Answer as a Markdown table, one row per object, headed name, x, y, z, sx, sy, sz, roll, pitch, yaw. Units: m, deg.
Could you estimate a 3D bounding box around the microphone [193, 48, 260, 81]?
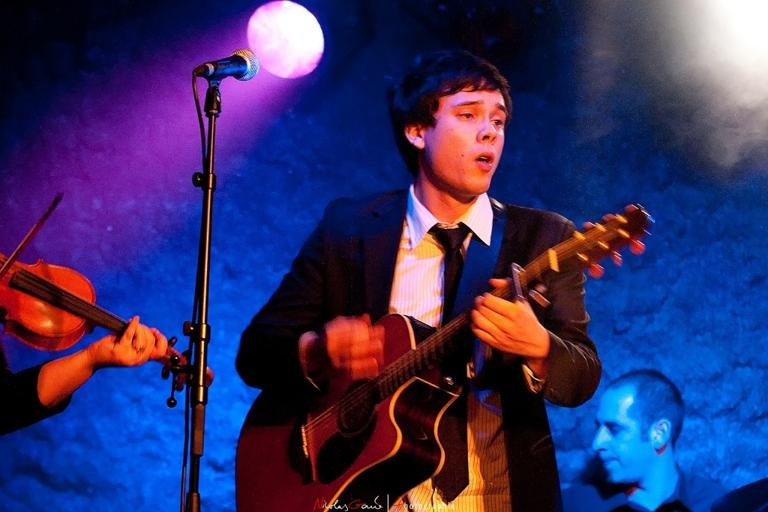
| name | x | y | z | sx | sy | sz | roll | pitch | yaw |
| --- | --- | --- | --- | --- | --- | --- | --- | --- | --- |
| microphone | -0.750 | -0.926 | 4.018 | 0.136 | 0.140 | 0.401 | -1 | 18 | 42 |
